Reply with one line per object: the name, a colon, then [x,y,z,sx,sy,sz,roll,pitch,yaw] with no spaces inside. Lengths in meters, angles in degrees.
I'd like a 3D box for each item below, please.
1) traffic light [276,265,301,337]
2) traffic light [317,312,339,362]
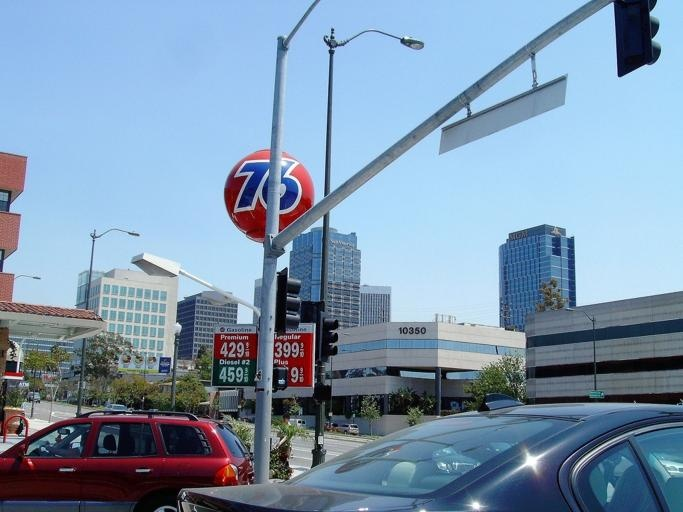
traffic light: [-0.951,0.740,11.328,0.440,1.218,0.965,2,-14,-6]
traffic light: [-0.288,1.666,12.823,0.434,0.911,1.087,1,-14,-1]
